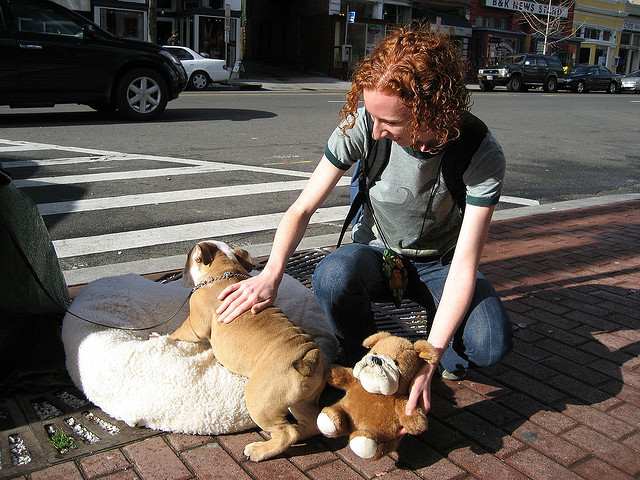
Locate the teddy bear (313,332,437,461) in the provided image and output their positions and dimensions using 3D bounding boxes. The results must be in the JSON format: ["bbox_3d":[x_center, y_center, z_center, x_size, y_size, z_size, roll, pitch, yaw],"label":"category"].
[{"bbox_3d":[0.227,0.624,1.852,0.476,0.483,0.343,10,-7,44],"label":"teddy bear"}]

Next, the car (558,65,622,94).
[{"bbox_3d":[18.178,-10.854,30.099,5.581,1.753,1.516,-11,24,-33],"label":"car"}]

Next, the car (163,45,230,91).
[{"bbox_3d":[-5.675,-6.983,18.688,3.705,1.557,1.825,3,22,-11],"label":"car"}]

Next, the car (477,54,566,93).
[{"bbox_3d":[12.201,-10.142,27.164,5.072,2.206,2.522,-8,19,-26],"label":"car"}]

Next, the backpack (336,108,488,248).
[{"bbox_3d":[0.443,-0.285,2.354,0.719,0.820,0.367,12,22,25],"label":"backpack"}]
